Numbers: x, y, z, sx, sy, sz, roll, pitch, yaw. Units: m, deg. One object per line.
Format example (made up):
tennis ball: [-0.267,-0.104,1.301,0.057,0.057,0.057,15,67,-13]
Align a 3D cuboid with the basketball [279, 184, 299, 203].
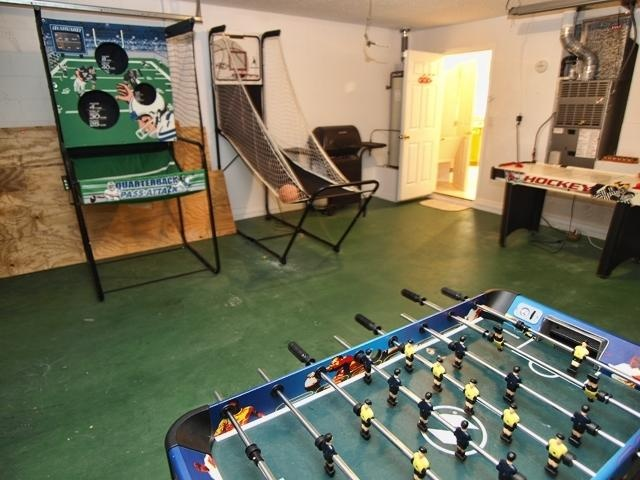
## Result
basketball: [-0.291,-0.447,4.353,0.144,0.154,0.310,-10,22,-24]
